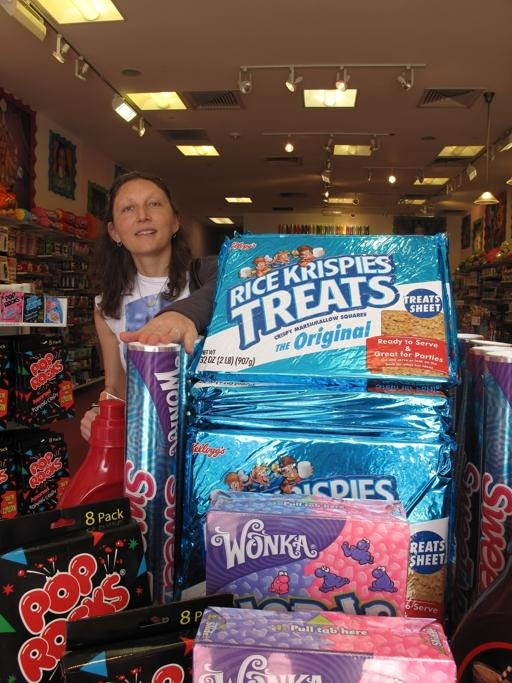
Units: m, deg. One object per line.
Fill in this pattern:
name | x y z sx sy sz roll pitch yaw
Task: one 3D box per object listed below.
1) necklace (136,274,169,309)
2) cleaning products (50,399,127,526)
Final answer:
necklace | -0.254 -0.125 1.285 0.086 0.083 0.026 -1 -18 21
cleaning products | -0.193 0.180 0.706 0.127 0.188 0.061 0 6 -12
